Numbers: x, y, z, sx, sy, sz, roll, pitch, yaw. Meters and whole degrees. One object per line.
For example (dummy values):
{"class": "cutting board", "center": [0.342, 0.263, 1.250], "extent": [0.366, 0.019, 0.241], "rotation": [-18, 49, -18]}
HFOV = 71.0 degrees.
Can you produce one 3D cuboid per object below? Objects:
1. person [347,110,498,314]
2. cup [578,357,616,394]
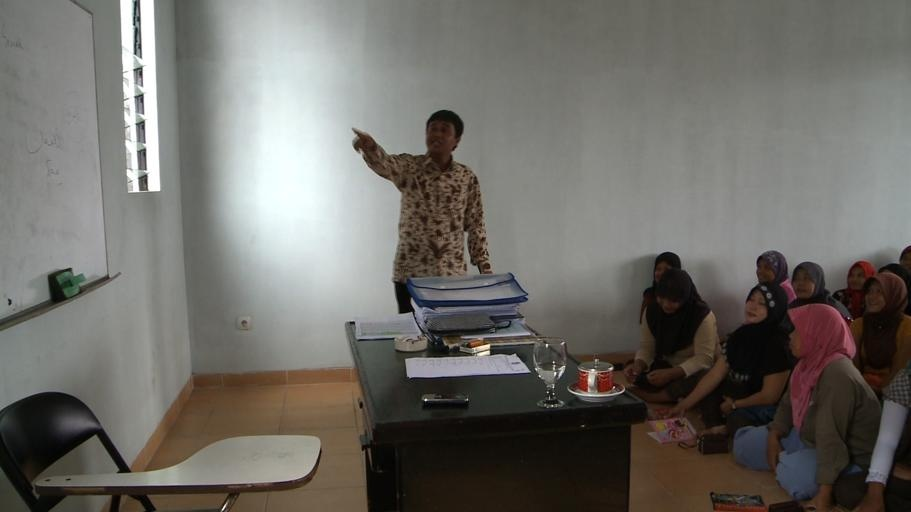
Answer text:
{"class": "person", "center": [-0.265, -0.439, 5.802], "extent": [1.026, 1.768, 0.571], "rotation": [-6, 8, -3]}
{"class": "cup", "center": [0.764, 0.648, 3.470], "extent": [0.186, 0.162, 0.177], "rotation": [0, -1, 0]}
